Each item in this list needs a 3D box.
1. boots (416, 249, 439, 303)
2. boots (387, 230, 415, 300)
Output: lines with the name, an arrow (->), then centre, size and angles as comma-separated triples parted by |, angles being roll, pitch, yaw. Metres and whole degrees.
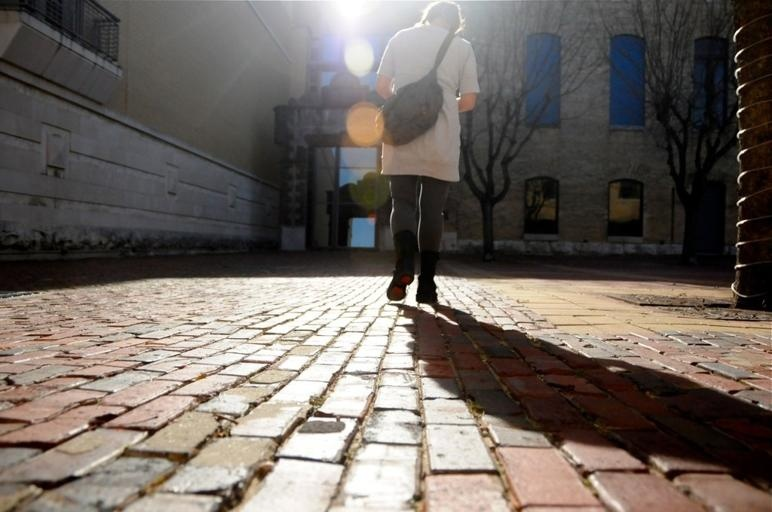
boots -> 0.381, 0.112, 4.611 | 0.219, 0.460, 0.475 | 0, 17, 4
boots -> 0.121, 0.151, 4.319 | 0.223, 0.415, 0.593 | 5, -36, 0
